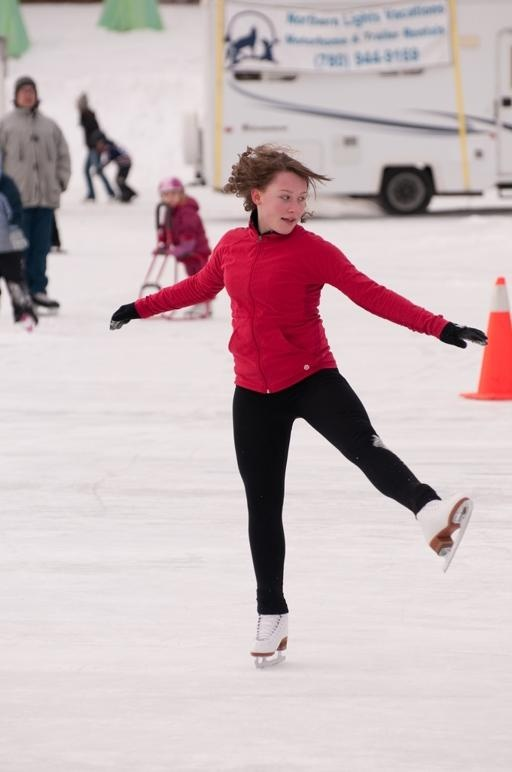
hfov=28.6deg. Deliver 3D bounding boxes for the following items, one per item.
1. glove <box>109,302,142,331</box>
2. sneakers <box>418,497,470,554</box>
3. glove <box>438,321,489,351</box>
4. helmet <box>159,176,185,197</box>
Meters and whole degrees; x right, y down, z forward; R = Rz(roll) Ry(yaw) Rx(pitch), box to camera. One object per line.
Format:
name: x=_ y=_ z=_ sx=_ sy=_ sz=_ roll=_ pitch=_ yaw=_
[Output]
glove: x=-0.442 y=-0.233 z=3.332 sx=0.109 sy=0.040 sz=0.101 roll=-28 pitch=23 yaw=22
sneakers: x=0.486 y=0.359 z=2.665 sx=0.143 sy=0.217 sz=0.078 roll=15 pitch=55 yaw=3
glove: x=0.567 y=-0.134 z=2.709 sx=0.122 sy=0.063 sz=0.043 roll=7 pitch=-7 yaw=-19
helmet: x=-0.960 y=-2.253 z=11.424 sx=0.237 sy=0.112 sz=0.228 roll=-2 pitch=-2 yaw=29
